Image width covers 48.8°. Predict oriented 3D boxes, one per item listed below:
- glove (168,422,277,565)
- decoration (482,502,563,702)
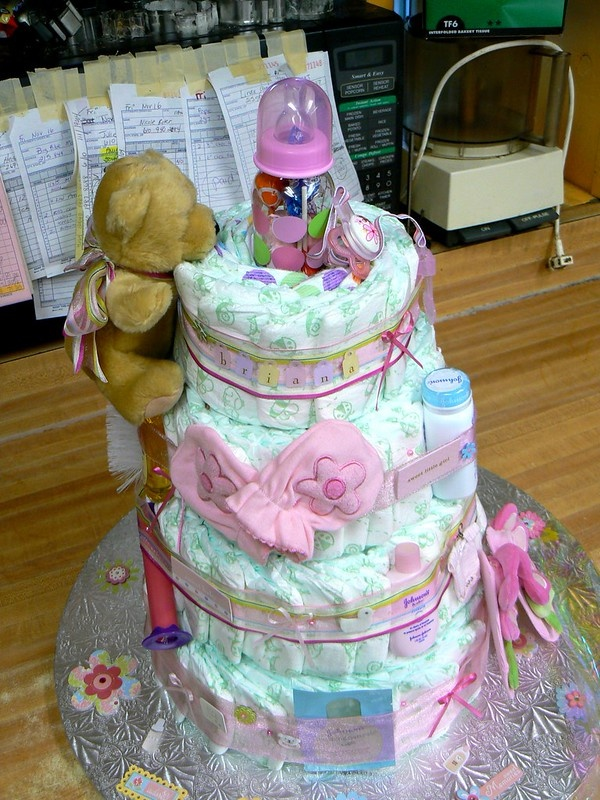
[{"bbox_3d":[-0.067,0.075,0.518,0.028,0.112,0.068,-34,21,30],"label":"glove"},{"bbox_3d":[0.219,0.193,0.677,0.055,0.168,0.123,-9,7,38],"label":"decoration"}]
